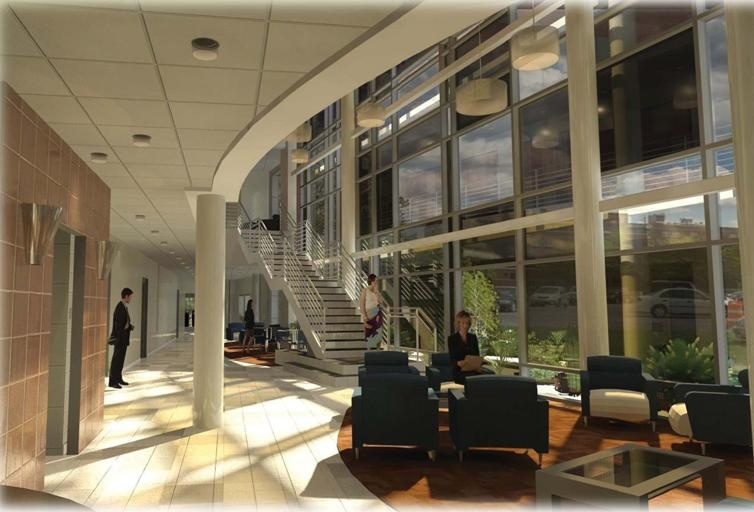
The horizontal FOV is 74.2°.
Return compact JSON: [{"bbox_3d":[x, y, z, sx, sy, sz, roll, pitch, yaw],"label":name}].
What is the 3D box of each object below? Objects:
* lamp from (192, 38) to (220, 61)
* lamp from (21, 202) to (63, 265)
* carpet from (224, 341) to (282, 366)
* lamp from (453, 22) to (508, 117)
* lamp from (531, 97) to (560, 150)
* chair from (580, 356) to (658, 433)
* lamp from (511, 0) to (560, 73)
[{"bbox_3d":[-1.508,-1.806,4.387,0.234,0.076,0.261,4,-12,-20],"label":"lamp"},{"bbox_3d":[-3.517,-0.222,5.247,0.215,0.624,0.422,-1,-11,6],"label":"lamp"},{"bbox_3d":[-4.381,3.342,17.125,1.574,0.741,6.747,3,-11,-16],"label":"carpet"},{"bbox_3d":[1.612,-2.916,8.138,1.042,0.985,1.089,-24,-46,-17],"label":"lamp"},{"bbox_3d":[3.454,-2.460,10.038,0.598,0.584,0.565,-4,-12,18],"label":"lamp"},{"bbox_3d":[3.753,2.055,7.767,1.418,0.888,1.381,4,-8,-28],"label":"chair"},{"bbox_3d":[2.258,-3.107,7.200,0.731,0.733,0.693,0,-8,-2],"label":"lamp"}]
